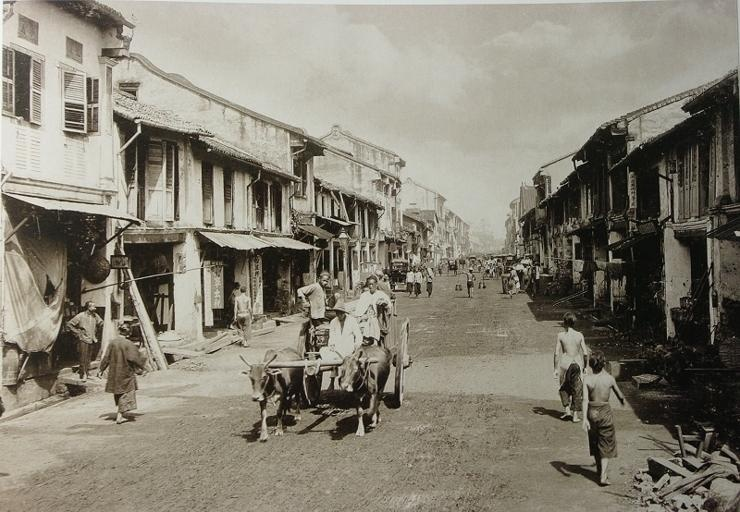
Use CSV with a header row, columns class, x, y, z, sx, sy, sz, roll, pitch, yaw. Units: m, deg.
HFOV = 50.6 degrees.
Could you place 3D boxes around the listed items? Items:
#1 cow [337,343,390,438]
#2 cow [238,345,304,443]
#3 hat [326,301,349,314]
class,x,y,z,sx,sy,sz,roll,pitch,yaw
cow,-0.134,3.207,18.642,0.784,2.114,2.128,-3,-4,17
cow,-2.207,3.251,18.302,0.852,2.139,1.678,-4,-4,26
hat,-1.003,1.497,23.142,0.636,0.251,0.700,2,-15,2
